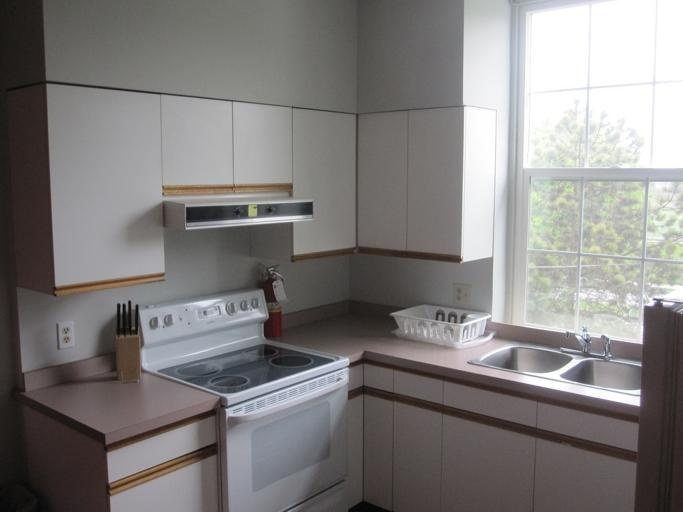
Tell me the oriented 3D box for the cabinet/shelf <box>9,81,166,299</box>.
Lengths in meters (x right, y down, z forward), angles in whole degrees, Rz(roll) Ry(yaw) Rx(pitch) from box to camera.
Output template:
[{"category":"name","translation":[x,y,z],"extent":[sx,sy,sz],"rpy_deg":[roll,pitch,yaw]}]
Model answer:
[{"category":"cabinet/shelf","translation":[-1.110,-0.296,2.314],"extent":[0.668,0.863,0.359],"rpy_deg":[-5,14,-19]}]

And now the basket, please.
[{"category":"basket","translation":[0.591,0.399,3.157],"extent":[0.502,0.153,0.364],"rpy_deg":[8,16,33]}]

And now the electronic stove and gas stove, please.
[{"category":"electronic stove and gas stove","translation":[-0.504,0.619,2.786],"extent":[0.752,0.101,0.853],"rpy_deg":[-7,0,-41]}]

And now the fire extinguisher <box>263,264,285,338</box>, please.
[{"category":"fire extinguisher","translation":[-0.410,0.267,3.234],"extent":[0.129,0.408,0.216],"rpy_deg":[-2,13,-7]}]

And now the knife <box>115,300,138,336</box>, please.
[{"category":"knife","translation":[-1.035,0.279,2.549],"extent":[0.109,0.169,0.251],"rpy_deg":[-6,14,-22]}]

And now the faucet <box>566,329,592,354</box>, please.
[{"category":"faucet","translation":[1.290,0.433,2.888],"extent":[0.131,0.143,0.202],"rpy_deg":[6,15,27]}]

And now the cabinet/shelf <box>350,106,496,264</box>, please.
[{"category":"cabinet/shelf","translation":[0.493,-0.432,3.040],"extent":[0.852,1.063,0.512],"rpy_deg":[2,3,37]}]

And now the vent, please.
[{"category":"vent","translation":[-0.491,-0.236,2.642],"extent":[0.780,0.168,0.197],"rpy_deg":[-12,18,-39]}]

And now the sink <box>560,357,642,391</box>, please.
[{"category":"sink","translation":[1.287,0.509,2.628],"extent":[0.288,0.194,0.284],"rpy_deg":[2,4,42]}]
